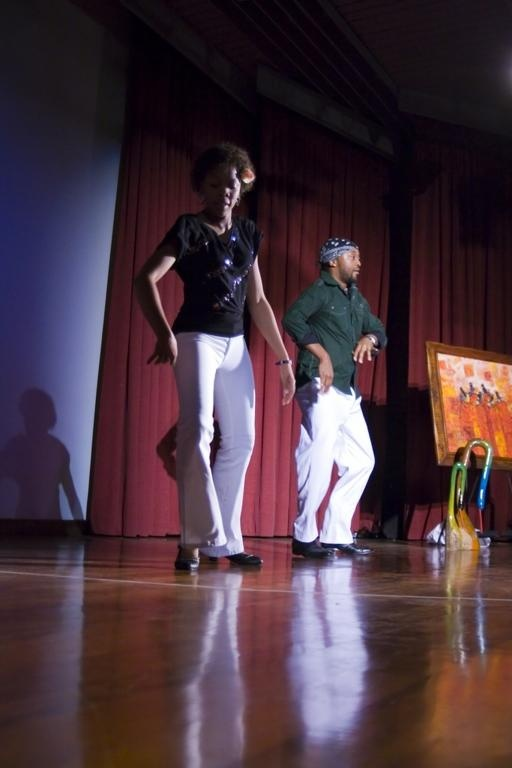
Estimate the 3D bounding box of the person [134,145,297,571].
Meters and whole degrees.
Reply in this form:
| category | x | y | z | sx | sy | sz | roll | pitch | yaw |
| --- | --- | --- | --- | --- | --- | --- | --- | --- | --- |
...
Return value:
| category | x | y | z | sx | sy | sz | roll | pitch | yaw |
| --- | --- | --- | --- | --- | --- | --- | --- | --- | --- |
| person | -0.132 | -0.015 | 1.820 | 0.216 | 1.186 | 0.670 | -4 | -11 | 32 |

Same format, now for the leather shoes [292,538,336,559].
| category | x | y | z | sx | sy | sz | roll | pitch | yaw |
| --- | --- | --- | --- | --- | --- | --- | --- | --- | --- |
| leather shoes | 0.248 | 0.684 | 2.368 | 0.178 | 0.127 | 0.082 | -2 | -9 | 17 |

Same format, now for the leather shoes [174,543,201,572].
| category | x | y | z | sx | sy | sz | roll | pitch | yaw |
| --- | --- | --- | --- | --- | --- | --- | --- | --- | --- |
| leather shoes | -0.206 | 0.522 | 1.642 | 0.034 | 0.063 | 0.137 | 1 | -22 | -2 |
